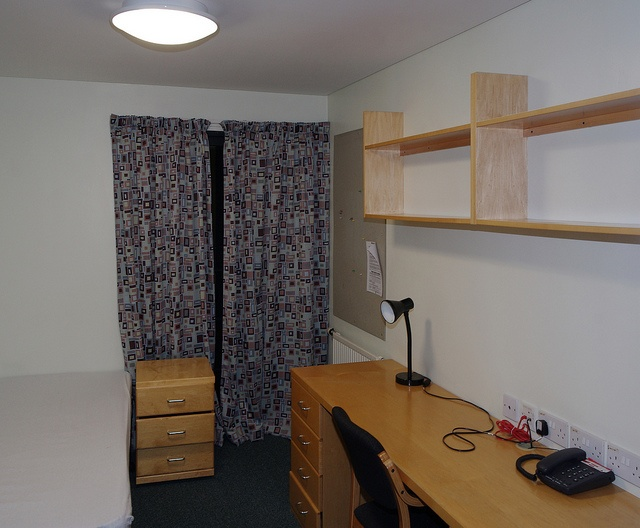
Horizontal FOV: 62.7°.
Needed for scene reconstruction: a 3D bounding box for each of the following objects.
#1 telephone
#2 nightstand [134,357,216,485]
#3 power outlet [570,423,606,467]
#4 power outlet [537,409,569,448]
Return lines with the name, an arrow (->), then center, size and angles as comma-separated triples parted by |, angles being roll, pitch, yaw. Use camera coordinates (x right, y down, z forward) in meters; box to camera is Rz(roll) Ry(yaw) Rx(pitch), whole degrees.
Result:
telephone -> 0.979, 0.819, 2.123 | 0.238, 0.112, 0.338 | -20, 17, -41
nightstand -> -1.030, 1.079, 3.795 | 0.640, 0.736, 0.689 | 5, 12, 8
power outlet -> 1.104, 0.757, 2.172 | 0.010, 0.119, 0.156 | -6, 8, -23
power outlet -> 1.029, 0.721, 2.314 | 0.015, 0.134, 0.177 | 22, -27, -20
